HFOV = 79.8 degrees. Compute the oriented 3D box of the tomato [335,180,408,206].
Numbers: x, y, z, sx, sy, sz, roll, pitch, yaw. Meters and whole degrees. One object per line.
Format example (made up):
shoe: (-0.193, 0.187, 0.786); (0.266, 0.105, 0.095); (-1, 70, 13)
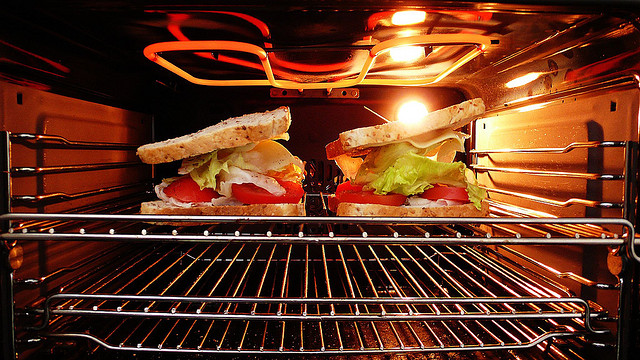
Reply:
tomato: (0.232, 0.045, 1.760); (0.264, 0.158, 0.131); (2, -90, 42)
